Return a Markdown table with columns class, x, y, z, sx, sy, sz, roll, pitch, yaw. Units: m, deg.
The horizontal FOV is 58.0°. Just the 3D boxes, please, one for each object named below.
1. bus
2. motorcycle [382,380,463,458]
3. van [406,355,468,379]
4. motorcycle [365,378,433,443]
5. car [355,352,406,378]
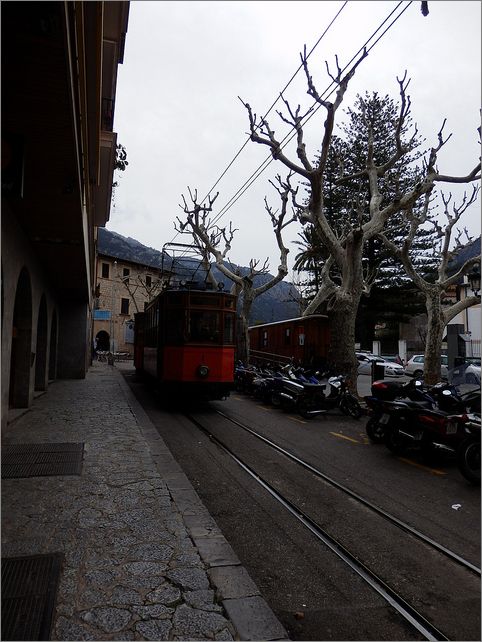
| class | x | y | z | sx | sy | sz | roll | pitch | yaw |
| --- | --- | --- | --- | --- | --- | --- | --- | --- | --- |
| bus | -1.709 | 0.694 | 12.363 | 1.700 | 3.289 | 3.636 | 3 | -4 | -29 |
| motorcycle | 2.894 | 1.706 | 7.117 | 0.663 | 1.135 | 1.600 | 3 | -9 | 0 |
| van | 8.689 | 2.046 | 19.370 | 2.836 | 1.406 | 1.478 | -5 | -7 | 28 |
| motorcycle | 2.918 | 1.542 | 7.672 | 1.534 | 1.401 | 0.688 | 1 | -5 | -10 |
| car | 8.248 | 2.626 | 25.769 | 1.538 | 1.351 | 3.625 | 3 | -9 | -29 |
